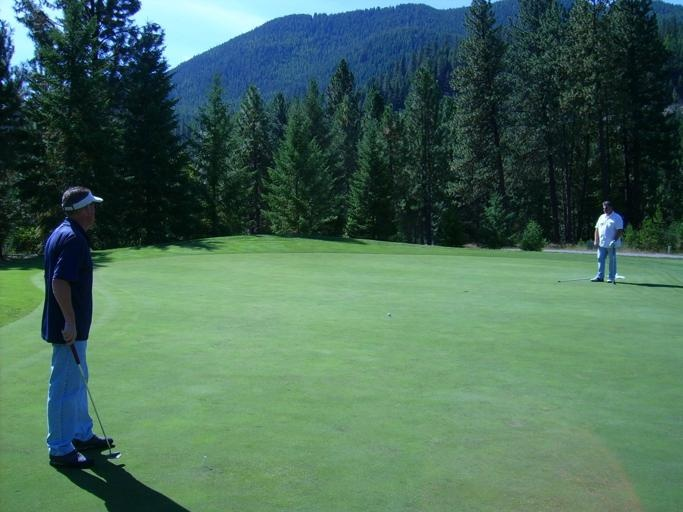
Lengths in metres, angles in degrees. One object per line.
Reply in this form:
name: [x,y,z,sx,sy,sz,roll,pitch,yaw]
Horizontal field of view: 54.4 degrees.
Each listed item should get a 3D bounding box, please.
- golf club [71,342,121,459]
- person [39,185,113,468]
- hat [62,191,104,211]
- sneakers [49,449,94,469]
golf club: [-2.635,1.334,6.838,0.323,0.189,1.680,-5,32,-26]
person: [-2.868,0.703,7.116,0.616,2.782,1.063,-3,9,-25]
hat: [-2.843,-0.565,7.374,0.423,0.161,0.273,-32,23,-33]
sneakers: [-2.757,2.094,6.871,0.421,0.215,0.193,3,-6,-6]
